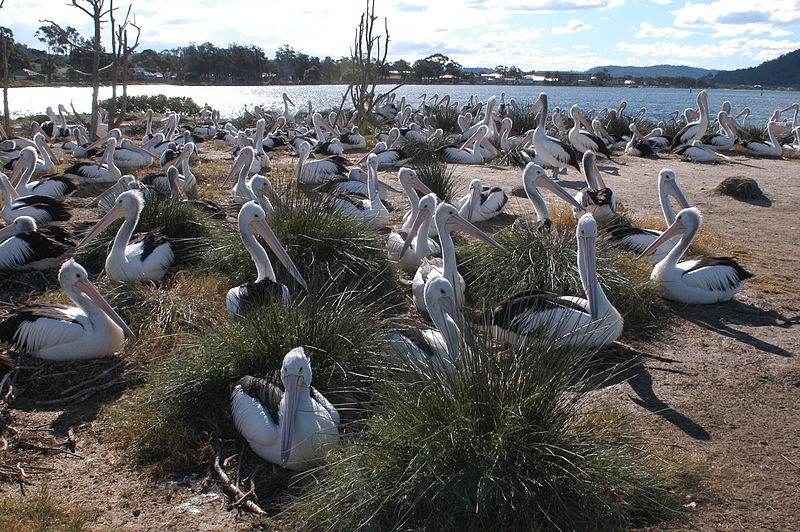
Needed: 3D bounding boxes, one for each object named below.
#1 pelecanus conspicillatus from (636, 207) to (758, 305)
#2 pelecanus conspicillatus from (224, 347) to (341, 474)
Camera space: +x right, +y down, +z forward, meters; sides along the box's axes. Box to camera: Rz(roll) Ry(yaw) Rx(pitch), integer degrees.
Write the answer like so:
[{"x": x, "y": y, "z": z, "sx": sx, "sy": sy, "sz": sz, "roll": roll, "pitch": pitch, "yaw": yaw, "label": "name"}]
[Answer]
[{"x": 4.699, "y": -0.148, "z": 11.093, "sx": 1.461, "sy": 1.445, "sz": 0.545, "roll": 4, "pitch": 18, "yaw": 7, "label": "pelecanus conspicillatus"}, {"x": -1.349, "y": 1.696, "z": 8.195, "sx": 1.298, "sy": 1.444, "sz": 0.866, "roll": 2, "pitch": 18, "yaw": 0, "label": "pelecanus conspicillatus"}]
